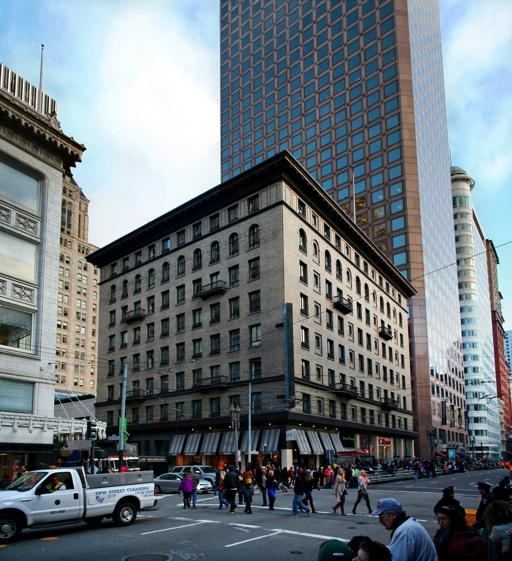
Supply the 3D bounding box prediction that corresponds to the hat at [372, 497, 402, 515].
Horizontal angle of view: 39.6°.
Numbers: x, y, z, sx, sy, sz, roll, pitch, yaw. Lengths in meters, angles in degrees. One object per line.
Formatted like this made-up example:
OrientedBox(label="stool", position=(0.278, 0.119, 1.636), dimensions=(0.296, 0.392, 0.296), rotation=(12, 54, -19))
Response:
OrientedBox(label="hat", position=(2.114, 3.681, 11.535), dimensions=(0.474, 0.230, 0.313), rotation=(-3, -19, 11))
